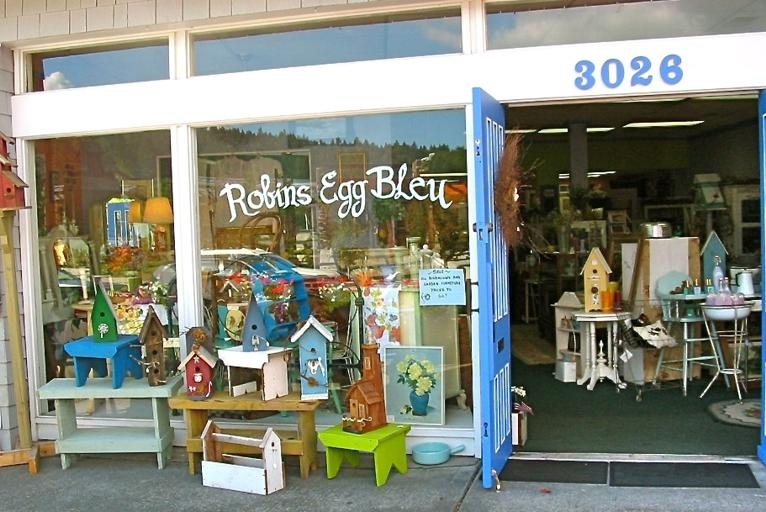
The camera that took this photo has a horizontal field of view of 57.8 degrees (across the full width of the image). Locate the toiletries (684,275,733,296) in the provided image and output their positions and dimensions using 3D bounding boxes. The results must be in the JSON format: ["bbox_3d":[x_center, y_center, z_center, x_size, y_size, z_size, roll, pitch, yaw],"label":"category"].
[{"bbox_3d":[4.039,0.372,8.476,0.737,0.272,0.213,-4,5,-24],"label":"toiletries"}]

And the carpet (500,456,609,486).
[{"bbox_3d":[1.600,2.014,6.492,0.988,0.017,0.445,0,10,8],"label":"carpet"}]

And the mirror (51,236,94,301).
[{"bbox_3d":[-3.346,0.145,7.542,0.520,0.785,0.144,-9,0,-1],"label":"mirror"}]

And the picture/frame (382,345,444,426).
[{"bbox_3d":[0.308,1.298,6.954,0.595,0.744,0.258,-1,10,1],"label":"picture/frame"}]

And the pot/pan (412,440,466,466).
[{"bbox_3d":[0.513,1.915,6.748,0.350,0.106,0.235,1,-1,-7],"label":"pot/pan"}]

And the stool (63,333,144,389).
[{"bbox_3d":[-2.764,1.010,6.905,0.580,0.434,0.589,1,4,12],"label":"stool"}]

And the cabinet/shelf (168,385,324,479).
[{"bbox_3d":[-1.281,1.688,6.807,1.415,0.745,0.662,-1,10,4],"label":"cabinet/shelf"}]

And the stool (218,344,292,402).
[{"bbox_3d":[-1.231,1.112,6.694,0.627,0.460,0.302,1,10,13],"label":"stool"}]

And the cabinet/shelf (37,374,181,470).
[{"bbox_3d":[-2.642,1.519,7.150,1.454,1.098,0.974,-1,0,5],"label":"cabinet/shelf"}]

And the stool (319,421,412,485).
[{"bbox_3d":[-0.159,1.825,6.523,0.727,0.488,0.461,2,11,21],"label":"stool"}]
